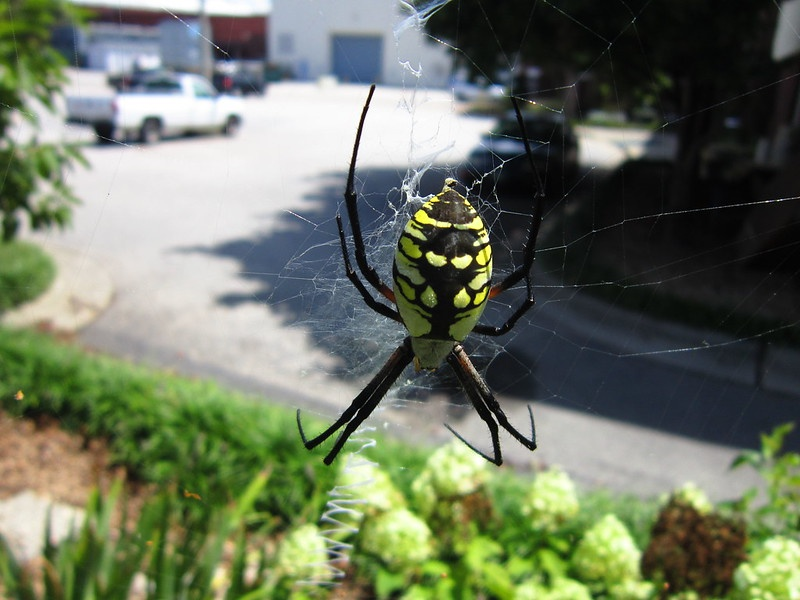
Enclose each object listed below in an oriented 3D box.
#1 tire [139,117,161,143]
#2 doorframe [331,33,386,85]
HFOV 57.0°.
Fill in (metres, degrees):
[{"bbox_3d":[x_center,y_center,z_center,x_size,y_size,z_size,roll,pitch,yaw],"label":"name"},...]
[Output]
[{"bbox_3d":[-1.237,-0.840,3.649,0.086,0.135,0.029,2,-3,-9],"label":"tire"},{"bbox_3d":[-0.241,-1.288,3.942,0.335,0.364,0.086,4,-2,-12],"label":"doorframe"}]
